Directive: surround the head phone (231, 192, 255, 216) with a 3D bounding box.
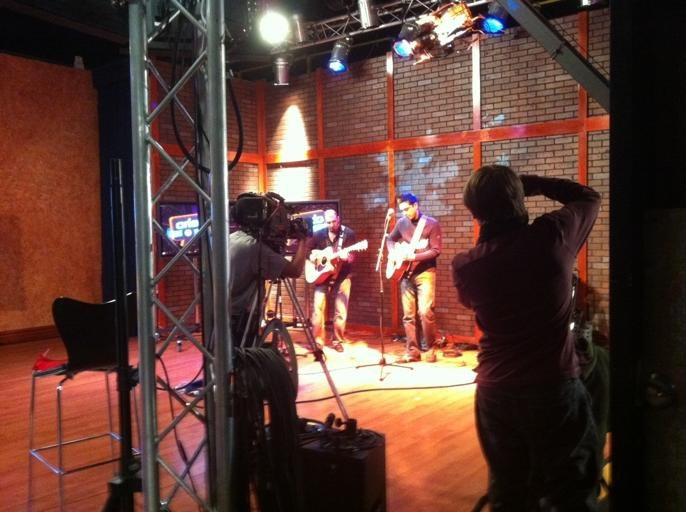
[{"bbox_3d":[-0.651,-0.343,3.920,0.146,0.123,0.345,-4,6,-29],"label":"head phone"}]

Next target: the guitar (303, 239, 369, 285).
[{"bbox_3d":[-0.115,0.060,7.269,0.791,0.423,0.138,-22,-22,31],"label":"guitar"}]

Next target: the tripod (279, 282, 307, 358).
[{"bbox_3d":[-0.535,0.720,6.683,0.108,0.910,0.375,-16,4,-6],"label":"tripod"}]

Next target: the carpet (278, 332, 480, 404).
[{"bbox_3d":[0.472,1.203,5.967,1.874,0.060,0.575,-6,6,-30],"label":"carpet"}]

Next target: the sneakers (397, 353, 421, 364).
[{"bbox_3d":[0.732,1.139,6.731,0.292,0.125,0.100,3,-5,-18],"label":"sneakers"}]

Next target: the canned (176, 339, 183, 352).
[{"bbox_3d":[-1.973,1.092,7.377,0.086,0.115,0.165,-1,30,-6],"label":"canned"}]

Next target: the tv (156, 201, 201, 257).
[{"bbox_3d":[-1.750,-0.303,6.450,0.061,0.670,0.638,0,1,41],"label":"tv"}]
